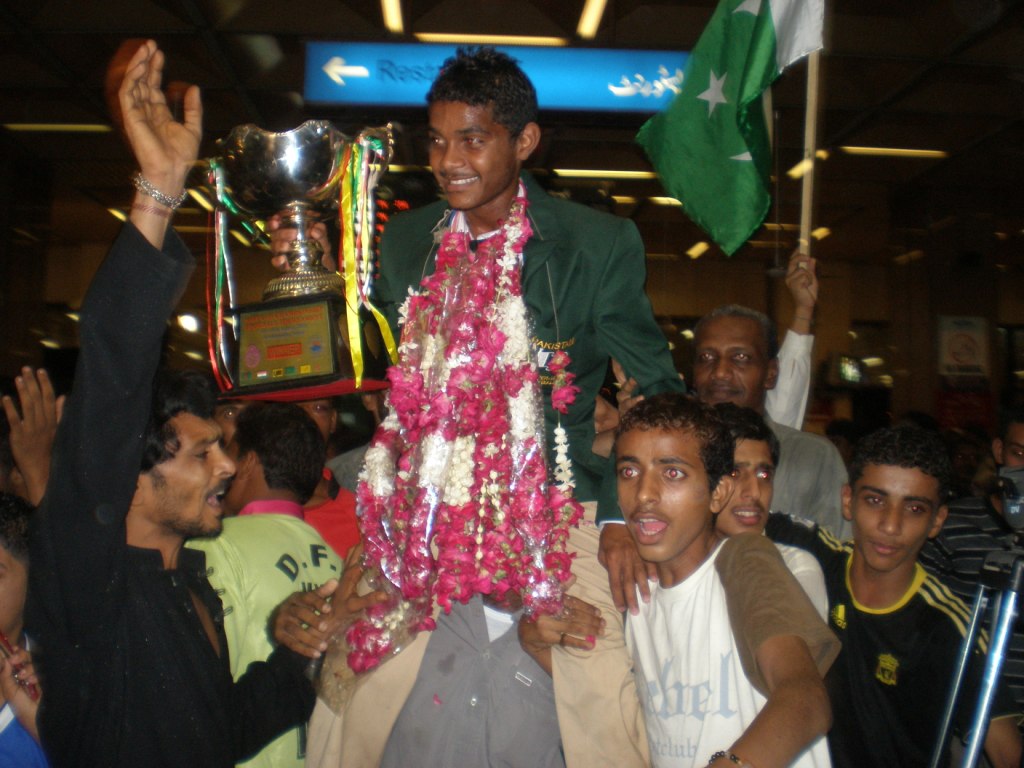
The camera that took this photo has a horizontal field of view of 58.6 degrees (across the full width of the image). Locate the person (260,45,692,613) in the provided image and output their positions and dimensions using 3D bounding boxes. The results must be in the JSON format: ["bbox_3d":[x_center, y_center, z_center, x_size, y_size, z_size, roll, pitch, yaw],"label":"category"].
[{"bbox_3d":[0.025,0.084,3.719,1.370,2.636,0.822,10,22,39],"label":"person"}]
